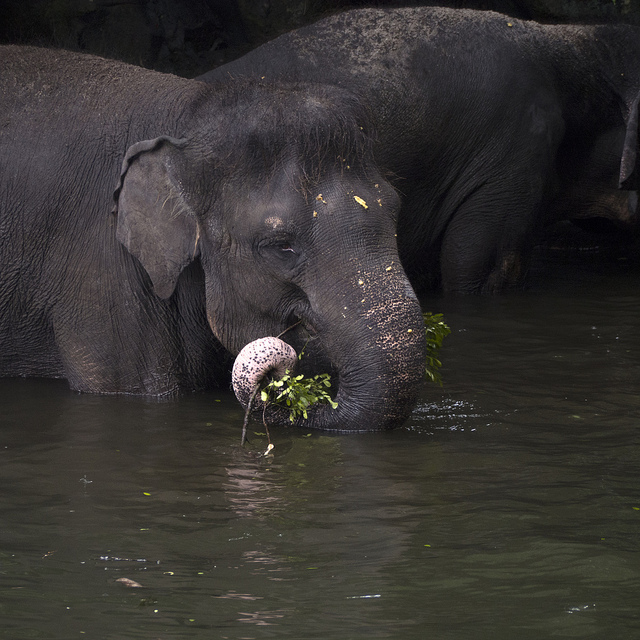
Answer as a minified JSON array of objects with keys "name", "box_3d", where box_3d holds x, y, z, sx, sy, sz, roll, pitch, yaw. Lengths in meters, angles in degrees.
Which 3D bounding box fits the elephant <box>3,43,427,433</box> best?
[{"name":"elephant","box_3d":[-0.459,-0.263,3.791,2.063,1.231,0.968,18,38,37]}]
